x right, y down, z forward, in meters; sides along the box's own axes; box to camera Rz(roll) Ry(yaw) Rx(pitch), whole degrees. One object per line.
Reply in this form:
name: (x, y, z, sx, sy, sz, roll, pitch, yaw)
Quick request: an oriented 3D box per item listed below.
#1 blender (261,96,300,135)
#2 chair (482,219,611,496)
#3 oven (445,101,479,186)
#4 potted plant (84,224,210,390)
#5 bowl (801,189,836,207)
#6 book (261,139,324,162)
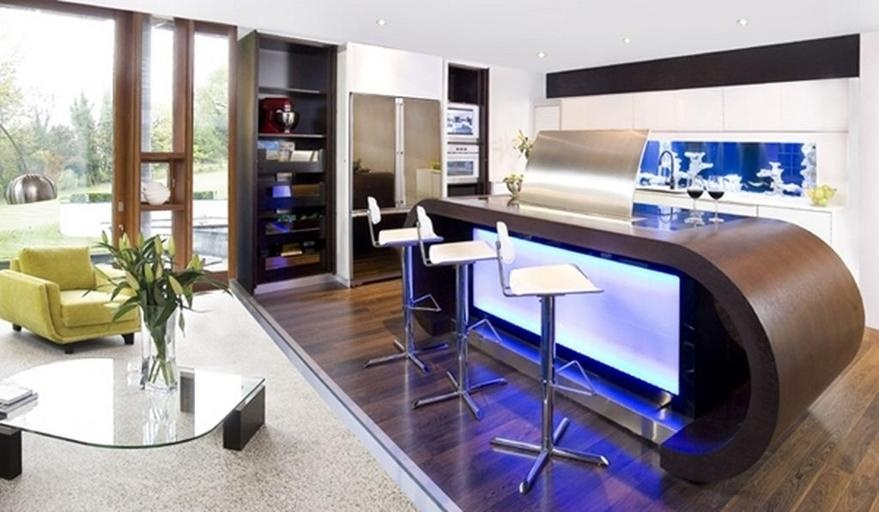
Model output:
blender: (-2.227, -1.915, 7.816, 0.498, 0.444, 0.377, 11, 15, 23)
chair: (0.893, 0.759, 4.764, 0.969, 1.960, 0.857, -5, 10, -18)
oven: (0.185, -1.753, 9.111, 0.771, 1.262, 0.670, -7, 12, -30)
potted plant: (-2.429, 0.489, 4.786, 0.910, 1.102, 0.871, 10, 7, 24)
bowl: (4.773, -0.729, 7.108, 0.252, 0.167, 0.258, -2, 2, 0)
book: (-2.057, -1.426, 7.825, 0.879, 0.283, 0.114, -9, 17, -32)
